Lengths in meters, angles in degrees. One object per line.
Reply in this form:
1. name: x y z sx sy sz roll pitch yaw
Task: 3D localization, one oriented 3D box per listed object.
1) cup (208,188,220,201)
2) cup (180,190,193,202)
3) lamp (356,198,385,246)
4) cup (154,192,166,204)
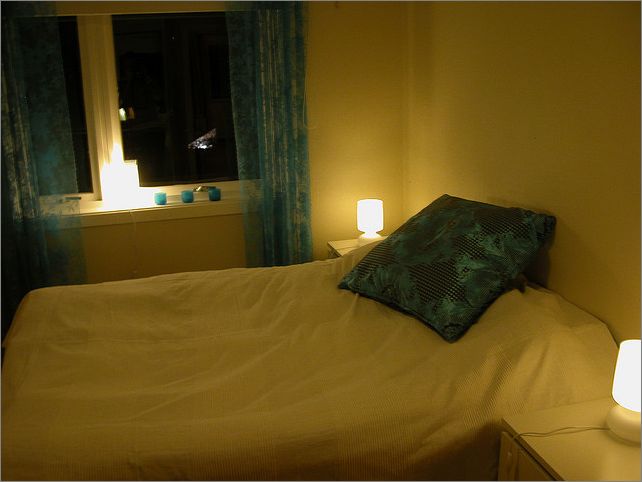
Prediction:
1. cup: -0.739 -0.324 3.828 0.088 0.071 0.076 -7 14 -39
2. cup: -0.935 -0.309 3.844 0.085 0.087 0.069 -2 14 -1
3. lamp: 0.335 -0.112 3.657 0.176 0.310 0.179 6 10 25
4. cup: -1.105 -0.290 3.801 0.074 0.081 0.056 -8 15 -22
